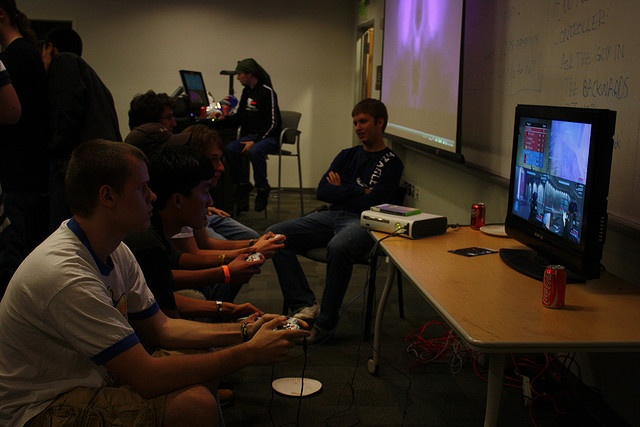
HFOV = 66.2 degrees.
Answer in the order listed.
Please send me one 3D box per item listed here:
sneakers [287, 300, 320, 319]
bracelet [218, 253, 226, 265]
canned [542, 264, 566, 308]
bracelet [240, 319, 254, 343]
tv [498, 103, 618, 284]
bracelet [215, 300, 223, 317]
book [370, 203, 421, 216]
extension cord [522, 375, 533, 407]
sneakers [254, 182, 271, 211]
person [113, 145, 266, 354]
[{"bbox_3d":[-0.106,0.657,3.372,0.184,0.077,0.117,-2,7,13],"label":"sneakers"},{"bbox_3d":[-0.561,0.275,2.810,0.048,0.054,0.034,1,-3,-25],"label":"bracelet"},{"bbox_3d":[0.941,0.289,1.976,0.082,0.151,0.138,8,17,28],"label":"canned"},{"bbox_3d":[-0.313,0.506,2.107,0.027,0.094,0.037,-3,-14,28],"label":"bracelet"},{"bbox_3d":[1.086,-0.075,2.219,0.261,0.748,0.765,-1,9,-5],"label":"tv"},{"bbox_3d":[-0.498,0.468,2.449,0.034,0.054,0.052,3,46,2],"label":"bracelet"},{"bbox_3d":[0.446,-0.018,2.910,0.121,0.023,0.164,-7,12,-40],"label":"book"},{"bbox_3d":[1.115,0.961,2.667,0.026,0.116,0.113,5,5,13],"label":"extension cord"},{"bbox_3d":[-0.740,-0.193,6.316,0.132,0.412,0.173,6,6,18],"label":"sneakers"},{"bbox_3d":[-0.551,0.110,2.590,0.875,1.066,0.624,-1,3,-18],"label":"person"}]
